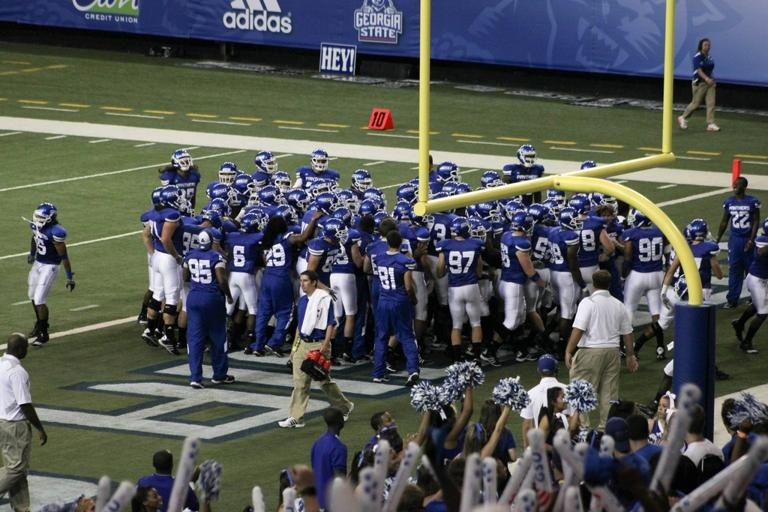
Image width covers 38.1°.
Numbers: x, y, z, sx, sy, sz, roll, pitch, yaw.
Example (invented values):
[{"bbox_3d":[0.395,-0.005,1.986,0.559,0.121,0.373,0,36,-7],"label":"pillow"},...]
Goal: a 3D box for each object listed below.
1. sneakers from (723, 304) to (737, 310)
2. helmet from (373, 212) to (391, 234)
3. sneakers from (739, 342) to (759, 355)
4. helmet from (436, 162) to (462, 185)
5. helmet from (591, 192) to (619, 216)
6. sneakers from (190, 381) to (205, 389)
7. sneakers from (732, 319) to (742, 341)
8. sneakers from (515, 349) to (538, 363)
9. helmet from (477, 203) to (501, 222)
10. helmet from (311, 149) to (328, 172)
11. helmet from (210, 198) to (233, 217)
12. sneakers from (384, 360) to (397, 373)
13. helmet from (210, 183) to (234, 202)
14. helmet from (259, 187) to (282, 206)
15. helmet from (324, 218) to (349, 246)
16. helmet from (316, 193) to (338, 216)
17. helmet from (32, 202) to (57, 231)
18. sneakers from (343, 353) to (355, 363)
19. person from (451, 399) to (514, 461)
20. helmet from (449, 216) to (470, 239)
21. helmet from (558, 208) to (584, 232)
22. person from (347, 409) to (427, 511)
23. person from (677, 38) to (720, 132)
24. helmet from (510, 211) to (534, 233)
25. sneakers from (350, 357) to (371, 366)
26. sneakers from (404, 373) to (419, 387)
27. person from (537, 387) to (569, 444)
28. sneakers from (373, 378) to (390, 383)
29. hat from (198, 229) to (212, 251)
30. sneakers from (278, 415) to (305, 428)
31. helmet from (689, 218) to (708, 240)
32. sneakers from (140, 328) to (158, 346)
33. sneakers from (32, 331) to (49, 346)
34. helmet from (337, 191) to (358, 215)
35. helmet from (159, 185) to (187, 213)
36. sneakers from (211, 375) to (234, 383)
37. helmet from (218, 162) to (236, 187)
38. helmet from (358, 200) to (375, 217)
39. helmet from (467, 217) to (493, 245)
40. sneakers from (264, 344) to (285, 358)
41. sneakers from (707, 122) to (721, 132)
[{"bbox_3d":[5.512,0.797,17.581,0.219,0.071,0.071,-1,11,-9],"label":"sneakers"},{"bbox_3d":[-0.025,-0.475,15.609,0.300,0.302,0.335,4,-22,1],"label":"helmet"},{"bbox_3d":[5.269,1.326,15.927,0.280,0.090,0.111,5,3,22],"label":"sneakers"},{"bbox_3d":[1.047,-1.322,17.783,0.487,0.336,0.328,-3,13,-2],"label":"helmet"},{"bbox_3d":[3.417,-0.811,17.047,0.529,0.389,0.419,1,-1,31],"label":"helmet"},{"bbox_3d":[-2.492,1.716,14.705,0.074,0.072,0.170,10,-23,15],"label":"sneakers"},{"bbox_3d":[5.225,1.089,16.276,0.163,0.318,0.122,-2,23,29],"label":"sneakers"},{"bbox_3d":[2.060,1.440,15.878,0.388,0.127,0.126,-2,4,2],"label":"sneakers"},{"bbox_3d":[1.523,-0.653,16.177,0.394,0.281,0.261,-5,13,-6],"label":"helmet"},{"bbox_3d":[-1.025,-1.616,18.798,0.370,0.311,0.430,0,3,-19],"label":"helmet"},{"bbox_3d":[-2.378,-0.707,16.149,0.247,0.264,0.249,3,13,21],"label":"helmet"},{"bbox_3d":[0.114,1.550,15.539,0.148,0.134,0.296,-1,7,0],"label":"sneakers"},{"bbox_3d":[-2.526,-0.990,17.188,0.246,0.215,0.378,-9,1,28],"label":"helmet"},{"bbox_3d":[-1.710,-0.896,16.754,0.392,0.282,0.273,-12,32,-27],"label":"helmet"},{"bbox_3d":[-0.671,-0.332,15.301,0.423,0.297,0.291,7,15,-10],"label":"helmet"},{"bbox_3d":[-0.816,-0.737,15.848,0.368,0.244,0.311,-9,-10,-4],"label":"helmet"},{"bbox_3d":[-4.915,-0.593,16.307,0.495,0.382,0.378,2,8,-28],"label":"helmet"},{"bbox_3d":[-0.506,1.457,15.860,0.188,0.107,0.054,30,5,-19],"label":"sneakers"},{"bbox_3d":[1.004,1.779,10.925,0.417,0.652,0.791,4,9,32],"label":"person"},{"bbox_3d":[1.084,-0.399,15.430,0.279,0.273,0.297,10,38,26],"label":"helmet"},{"bbox_3d":[2.679,-0.509,15.797,0.398,0.305,0.273,0,14,-3],"label":"helmet"},{"bbox_3d":[0.072,1.926,10.827,0.792,0.721,1.387,-1,7,2],"label":"person"},{"bbox_3d":[8.147,-4.393,28.387,1.034,2.387,1.609,1,9,15],"label":"person"},{"bbox_3d":[2.006,-0.500,15.665,0.285,0.248,0.340,13,26,31],"label":"helmet"},{"bbox_3d":[-0.318,1.512,15.922,0.326,0.156,0.096,-5,6,-21],"label":"sneakers"},{"bbox_3d":[0.398,1.664,14.870,0.110,0.260,0.106,8,50,-27],"label":"sneakers"},{"bbox_3d":[1.758,1.623,11.369,0.282,0.522,0.705,0,8,8],"label":"person"},{"bbox_3d":[-0.025,1.681,15.029,0.204,0.069,0.066,-3,24,-20],"label":"sneakers"},{"bbox_3d":[-2.401,-0.215,14.871,0.244,0.232,0.226,3,-14,-7],"label":"hat"},{"bbox_3d":[-1.134,2.044,13.661,0.326,0.115,0.124,6,-1,-8],"label":"sneakers"},{"bbox_3d":[4.573,-0.394,15.996,0.348,0.269,0.251,-3,9,-36],"label":"helmet"},{"bbox_3d":[-3.443,1.191,16.242,0.286,0.103,0.175,34,43,-18],"label":"sneakers"},{"bbox_3d":[-5.077,1.212,16.167,0.337,0.116,0.097,-4,36,-17],"label":"sneakers"},{"bbox_3d":[-0.521,-0.814,16.376,0.411,0.316,0.289,-3,1,13],"label":"helmet"},{"bbox_3d":[-3.111,-0.873,16.570,0.515,0.393,0.370,-12,13,-29],"label":"helmet"},{"bbox_3d":[-2.173,1.651,14.925,0.294,0.105,0.110,-6,33,-19],"label":"sneakers"},{"bbox_3d":[-2.657,-1.335,18.004,0.398,0.375,0.479,1,2,2],"label":"helmet"},{"bbox_3d":[-0.234,-0.703,16.338,0.291,0.175,0.231,-12,-17,5],"label":"helmet"},{"bbox_3d":[1.352,-0.370,15.684,0.458,0.315,0.306,-1,4,4],"label":"helmet"},{"bbox_3d":[-1.578,1.370,15.952,0.324,0.133,0.122,30,3,-14],"label":"sneakers"},{"bbox_3d":[8.576,-3.326,28.684,0.460,0.173,0.168,4,14,20],"label":"sneakers"}]
